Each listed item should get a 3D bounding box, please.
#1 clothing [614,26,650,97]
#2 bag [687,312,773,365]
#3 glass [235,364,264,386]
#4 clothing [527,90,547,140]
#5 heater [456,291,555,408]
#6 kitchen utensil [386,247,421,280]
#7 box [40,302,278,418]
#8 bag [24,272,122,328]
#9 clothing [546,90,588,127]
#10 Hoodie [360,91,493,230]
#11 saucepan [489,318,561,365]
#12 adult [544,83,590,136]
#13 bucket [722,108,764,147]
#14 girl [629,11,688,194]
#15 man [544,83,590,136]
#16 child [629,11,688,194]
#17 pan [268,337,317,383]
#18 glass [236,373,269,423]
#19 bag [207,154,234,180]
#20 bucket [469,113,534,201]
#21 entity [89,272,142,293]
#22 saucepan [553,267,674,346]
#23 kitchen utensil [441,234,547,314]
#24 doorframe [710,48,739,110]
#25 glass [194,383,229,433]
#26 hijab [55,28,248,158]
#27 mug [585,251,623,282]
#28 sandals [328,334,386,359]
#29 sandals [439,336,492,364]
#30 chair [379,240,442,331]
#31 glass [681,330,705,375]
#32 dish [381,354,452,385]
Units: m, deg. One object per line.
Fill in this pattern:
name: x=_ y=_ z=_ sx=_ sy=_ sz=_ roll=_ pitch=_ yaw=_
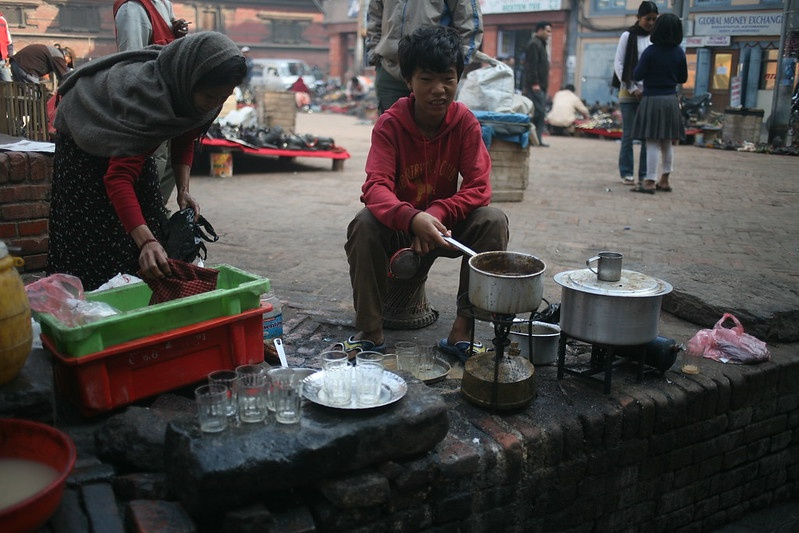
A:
clothing: x=3.239 y=-2.890 z=9.821 sx=0.633 sy=0.802 sz=0.263 roll=0 pitch=6 yaw=2
bag: x=2.277 y=0.491 z=4.777 sx=0.468 sy=0.233 sz=0.353 roll=0 pitch=1 yaw=16
glass: x=-0.824 y=0.600 z=3.841 sx=0.126 sy=0.089 sz=0.104 roll=3 pitch=8 yaw=17
clothing: x=2.707 y=-3.255 z=14.098 sx=0.268 sy=0.968 sz=0.586 roll=16 pitch=6 yaw=7
heater: x=0.622 y=0.493 z=4.375 sx=0.617 sy=0.630 sz=0.562 roll=-5 pitch=16 yaw=-25
kitchen utensil: x=0.036 y=-0.012 z=4.378 sx=0.203 sy=0.191 sz=0.049 roll=-9 pitch=26 yaw=-29
box: x=-1.401 y=0.542 z=4.132 sx=0.954 sy=0.301 sz=0.660 roll=-14 pitch=9 yaw=-29
bag: x=-1.945 y=0.225 z=4.107 sx=0.533 sy=0.140 sz=0.359 roll=21 pitch=27 yaw=8
clothing: x=4.593 y=-4.426 z=19.106 sx=1.333 sy=0.971 sz=1.132 roll=-22 pitch=26 yaw=-37
Hoodie: x=0.206 y=-0.753 z=4.872 sx=0.913 sy=0.998 sz=0.956 roll=0 pitch=13 yaw=-12
saucepan: x=0.933 y=0.494 z=4.761 sx=0.496 sy=0.280 sz=0.473 roll=-7 pitch=-1 yaw=-18
adult: x=4.653 y=-4.359 z=19.017 sx=1.047 sy=1.261 sz=0.948 roll=12 pitch=11 yaw=30
bucket: x=8.070 y=-3.310 z=16.246 sx=1.084 sy=0.995 sz=1.059 roll=2 pitch=7 yaw=0
girl: x=3.554 y=-2.165 z=9.364 sx=0.702 sy=2.403 sz=0.590 roll=-11 pitch=19 yaw=-31
man: x=4.649 y=-4.376 z=18.944 sx=0.970 sy=1.248 sz=0.888 roll=18 pitch=23 yaw=38
child: x=3.555 y=-2.164 z=9.363 sx=0.701 sy=2.403 sz=0.587 roll=-11 pitch=19 yaw=-31
pan: x=-0.667 y=0.575 z=4.174 sx=0.180 sy=0.042 sz=0.297 roll=-21 pitch=45 yaw=-26
glass: x=-0.773 y=0.699 z=3.773 sx=0.230 sy=0.247 sz=0.218 roll=-3 pitch=14 yaw=-13
bag: x=-2.832 y=-1.581 z=10.957 sx=0.507 sy=0.481 sz=0.167 roll=-5 pitch=9 yaw=-37
bucket: x=1.296 y=-1.446 z=9.363 sx=0.762 sy=0.860 sz=0.880 roll=0 pitch=27 yaw=-24
entity: x=-1.803 y=0.106 z=4.435 sx=0.137 sy=0.065 sz=0.199 roll=31 pitch=27 yaw=28
saucepan: x=1.309 y=0.250 z=4.225 sx=0.536 sy=0.264 sz=0.532 roll=-11 pitch=19 yaw=-40
kitchen utensil: x=0.625 y=0.085 z=4.113 sx=0.418 sy=0.373 sz=0.391 roll=-6 pitch=16 yaw=-18
doorframe: x=9.618 y=-5.572 z=20.574 sx=0.378 sy=1.710 sz=0.955 roll=-9 pitch=18 yaw=-26
glass: x=-0.971 y=0.759 z=3.745 sx=0.218 sy=0.237 sz=0.213 roll=-4 pitch=10 yaw=-27
hijab: x=-1.571 y=-1.078 z=4.369 sx=1.103 sy=0.487 sz=0.797 roll=0 pitch=21 yaw=13
mug: x=1.303 y=-0.012 z=4.303 sx=0.245 sy=0.158 sz=0.143 roll=-8 pitch=23 yaw=-9
sandals: x=-0.278 y=0.530 z=4.567 sx=0.336 sy=0.076 sz=0.141 roll=1 pitch=5 yaw=-33
sandals: x=0.431 y=0.561 z=4.606 sx=0.350 sy=0.122 sz=0.136 roll=13 pitch=22 yaw=36
chair: x=0.022 y=0.185 z=5.060 sx=0.435 sy=0.442 sz=0.414 roll=1 pitch=2 yaw=-12
glass: x=2.032 y=0.635 z=4.779 sx=0.136 sy=0.221 sz=0.149 roll=15 pitch=-1 yaw=-36
dish: x=0.126 y=0.687 z=4.502 sx=0.326 sy=0.045 sz=0.202 roll=14 pitch=20 yaw=30
